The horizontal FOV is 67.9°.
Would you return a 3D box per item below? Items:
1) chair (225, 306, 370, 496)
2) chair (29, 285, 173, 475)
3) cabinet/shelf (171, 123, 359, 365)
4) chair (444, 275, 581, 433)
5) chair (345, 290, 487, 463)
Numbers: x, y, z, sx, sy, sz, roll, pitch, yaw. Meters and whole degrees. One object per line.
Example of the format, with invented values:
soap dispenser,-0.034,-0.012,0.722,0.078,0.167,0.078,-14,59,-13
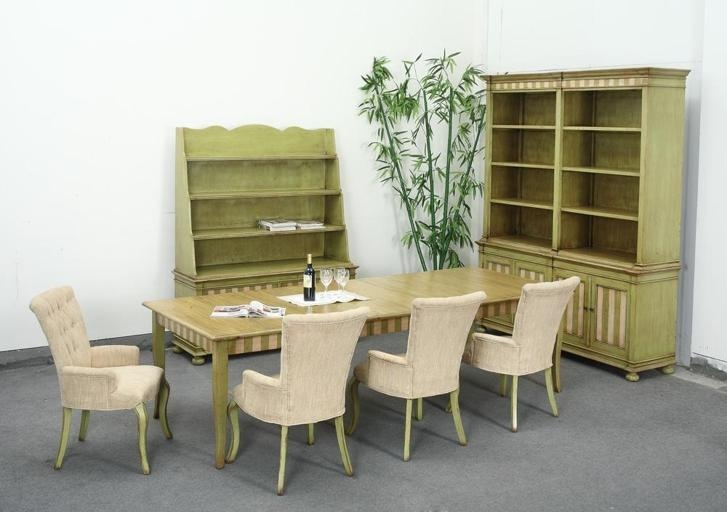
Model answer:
chair,-0.411,0.866,3.532,0.671,1.136,0.792,-2,6,-39
chair,-1.790,0.817,3.709,0.859,1.087,0.762,0,5,-27
cabinet/shelf,-1.028,-0.232,5.747,1.680,2.351,0.564,-6,11,-28
chair,1.231,0.719,4.353,0.811,1.125,0.734,4,6,44
chair,0.388,0.801,3.934,0.747,1.161,0.862,-1,6,-24
